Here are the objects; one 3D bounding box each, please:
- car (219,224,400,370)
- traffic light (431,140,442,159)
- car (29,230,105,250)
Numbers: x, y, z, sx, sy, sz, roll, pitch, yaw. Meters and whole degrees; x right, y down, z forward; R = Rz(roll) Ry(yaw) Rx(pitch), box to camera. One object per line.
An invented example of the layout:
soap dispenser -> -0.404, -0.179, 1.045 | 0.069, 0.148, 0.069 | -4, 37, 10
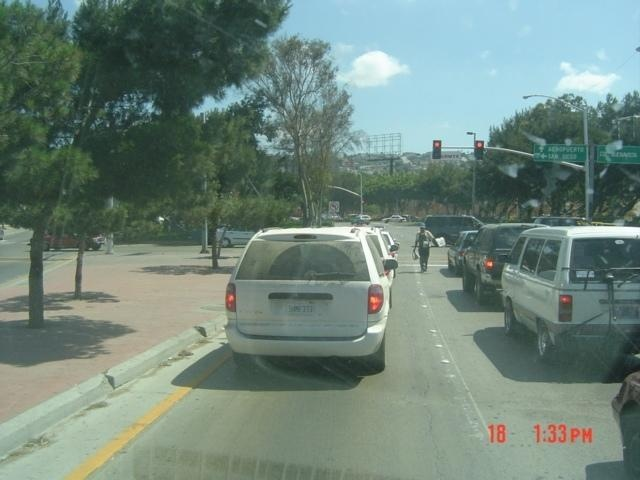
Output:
car -> -0.242, 0.835, 11.647 | 1.604, 1.554, 2.841 | 0, 6, 8
traffic light -> 5.912, -4.507, 39.164 | 0.400, 0.920, 1.146 | 1, 9, 3
car -> -9.449, 0.030, 29.251 | 2.146, 0.830, 1.020 | -2, 3, -1
